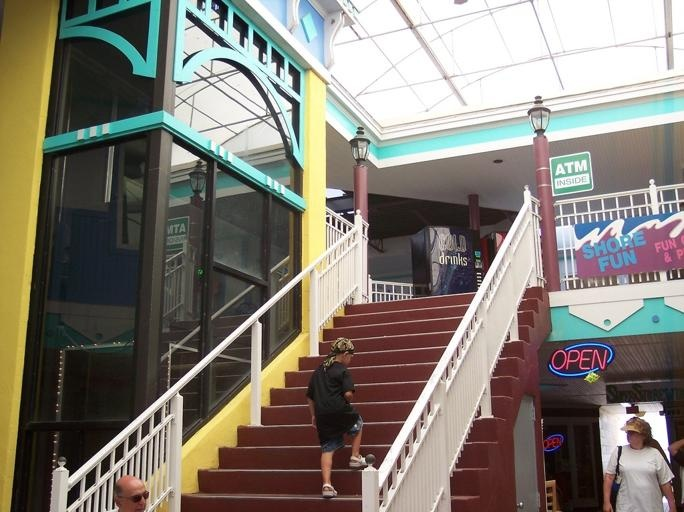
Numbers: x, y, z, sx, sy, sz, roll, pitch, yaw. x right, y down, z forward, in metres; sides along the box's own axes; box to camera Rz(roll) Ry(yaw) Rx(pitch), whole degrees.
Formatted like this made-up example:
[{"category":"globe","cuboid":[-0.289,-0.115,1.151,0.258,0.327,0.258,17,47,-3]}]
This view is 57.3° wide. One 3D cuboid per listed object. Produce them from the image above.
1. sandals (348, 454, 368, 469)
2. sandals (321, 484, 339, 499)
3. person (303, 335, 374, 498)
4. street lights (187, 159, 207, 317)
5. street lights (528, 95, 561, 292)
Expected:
[{"category":"sandals","cuboid":[0.152,2.144,6.545,0.270,0.130,0.183,-9,-15,26]},{"category":"sandals","cuboid":[-0.132,2.356,6.331,0.142,0.150,0.159,-2,-13,-2]},{"category":"person","cuboid":[-0.073,1.666,6.593,0.592,1.608,0.376,-1,-13,-4]},{"category":"street lights","cuboid":[-1.879,-0.283,8.039,0.102,2.027,0.308,-9,-15,28]},{"category":"street lights","cuboid":[3.388,-1.100,10.389,0.370,3.399,0.677,-6,-14,18]}]
